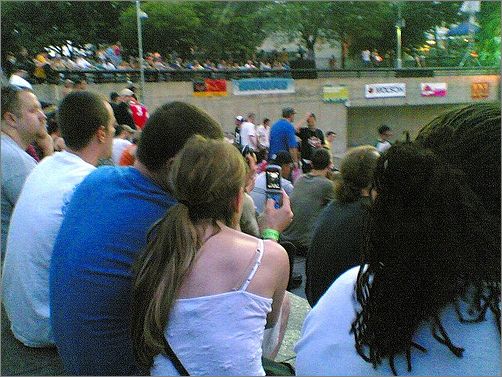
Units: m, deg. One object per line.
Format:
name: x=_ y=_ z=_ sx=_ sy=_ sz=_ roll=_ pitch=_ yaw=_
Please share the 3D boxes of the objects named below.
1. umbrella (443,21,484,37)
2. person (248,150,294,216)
umbrella: x=14.011 y=-10.550 z=39.326 sx=1.335 sy=0.965 sz=3.749 roll=-1 pitch=11 yaw=1
person: x=0.181 y=-0.131 z=6.354 sx=0.406 sy=0.797 sz=0.203 roll=-4 pitch=-31 yaw=14
